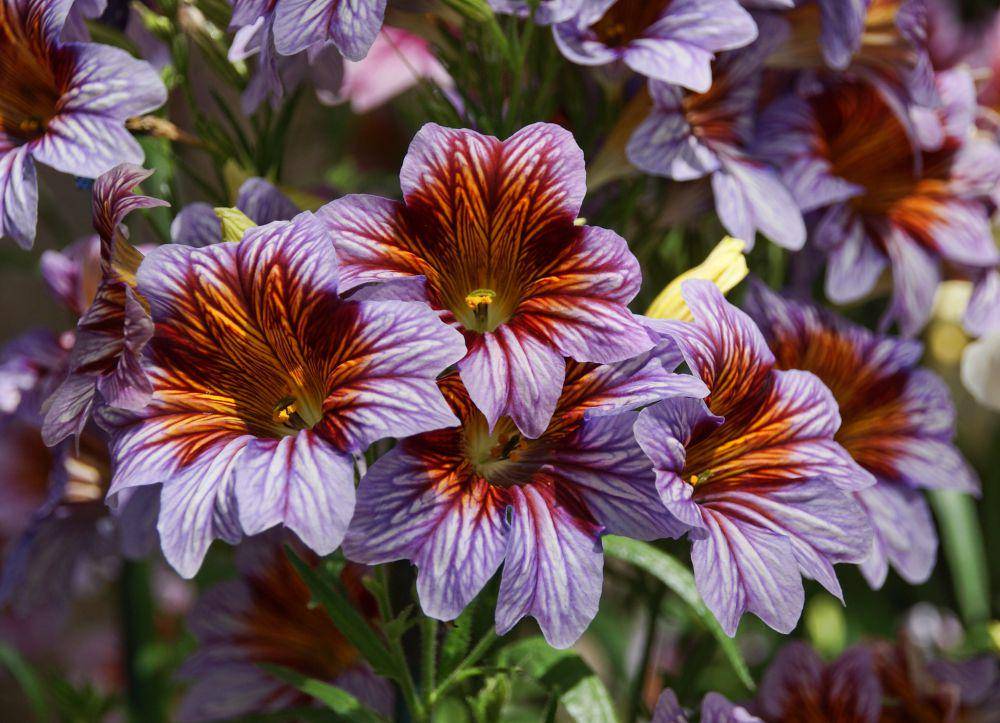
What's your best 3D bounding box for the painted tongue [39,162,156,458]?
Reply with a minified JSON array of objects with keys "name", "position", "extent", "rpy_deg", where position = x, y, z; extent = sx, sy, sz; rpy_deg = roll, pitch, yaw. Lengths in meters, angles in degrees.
[{"name":"painted tongue","position":[-0.317,-0.047,0.908],"extent":[0.077,0.211,0.163],"rpy_deg":[16,-66,0]}]
